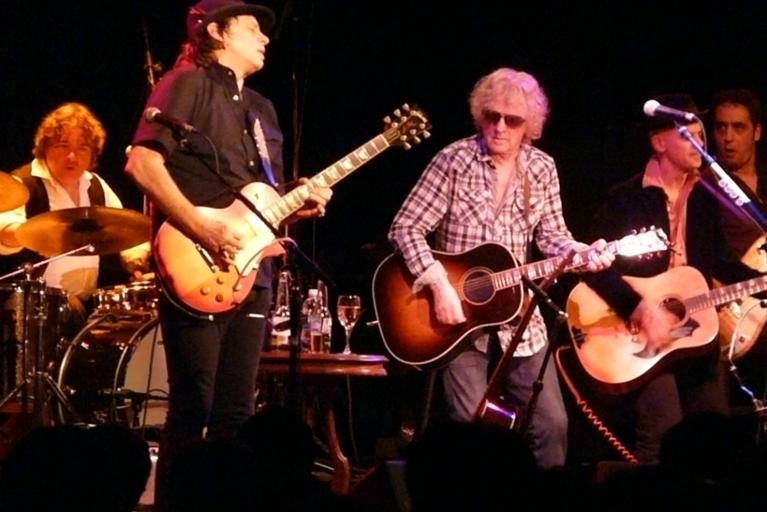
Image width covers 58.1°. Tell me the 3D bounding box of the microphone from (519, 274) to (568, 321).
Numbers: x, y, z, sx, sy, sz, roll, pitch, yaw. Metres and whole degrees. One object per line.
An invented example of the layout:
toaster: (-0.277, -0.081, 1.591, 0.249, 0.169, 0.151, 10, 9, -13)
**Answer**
microphone: (1.031, 0.278, 4.496, 0.081, 0.484, 0.083, -44, -19, 5)

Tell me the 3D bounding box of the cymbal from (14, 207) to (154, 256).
cymbal: (-2.429, -0.211, 5.650, 0.801, 0.141, 0.749, -7, -27, -9)

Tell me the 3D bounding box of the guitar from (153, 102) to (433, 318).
guitar: (-0.542, -0.268, 4.551, 2.023, 0.699, 0.204, -34, 2, -23)

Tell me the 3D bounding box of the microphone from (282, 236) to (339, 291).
microphone: (-0.457, 0.041, 3.762, 0.110, 0.081, 0.571, -46, -28, -2)

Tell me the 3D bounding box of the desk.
desk: (-0.480, 1.268, 5.215, 0.979, 0.899, 1.103, 10, -15, -11)

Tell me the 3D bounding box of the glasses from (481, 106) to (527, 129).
glasses: (0.768, -0.879, 4.446, 0.259, 0.138, 0.085, 0, -1, 10)

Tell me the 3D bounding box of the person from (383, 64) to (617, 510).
person: (0.768, 0.273, 4.675, 1.395, 2.814, 0.770, 3, 20, 10)
